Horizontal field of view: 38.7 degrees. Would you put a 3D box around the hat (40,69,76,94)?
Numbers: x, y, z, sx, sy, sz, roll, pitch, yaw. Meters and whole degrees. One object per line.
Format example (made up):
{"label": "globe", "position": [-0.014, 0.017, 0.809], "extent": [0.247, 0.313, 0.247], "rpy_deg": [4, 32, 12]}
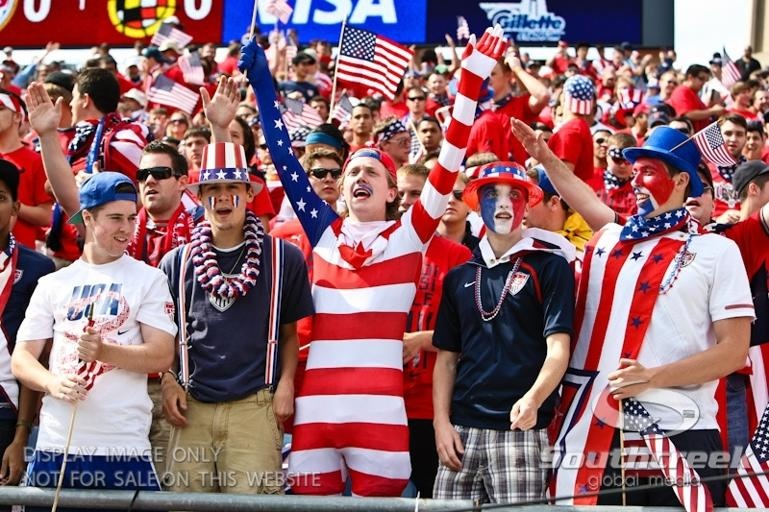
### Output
{"label": "hat", "position": [-3.440, -1.864, 11.582], "extent": [0.264, 0.255, 0.339], "rpy_deg": [4, 21, 2]}

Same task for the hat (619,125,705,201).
{"label": "hat", "position": [2.243, -0.874, 8.720], "extent": [0.506, 0.239, 0.454], "rpy_deg": [24, 12, 38]}

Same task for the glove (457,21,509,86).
{"label": "glove", "position": [0.828, -1.628, 8.963], "extent": [0.283, 0.492, 0.117], "rpy_deg": [27, -4, 14]}

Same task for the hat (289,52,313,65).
{"label": "hat", "position": [-1.392, -3.289, 18.278], "extent": [0.540, 0.238, 0.741], "rpy_deg": [1, 9, 3]}

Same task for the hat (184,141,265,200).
{"label": "hat", "position": [-1.341, -0.748, 9.127], "extent": [0.608, 0.341, 0.614], "rpy_deg": [-5, -4, 23]}

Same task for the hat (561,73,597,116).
{"label": "hat", "position": [2.296, -1.871, 12.810], "extent": [0.361, 0.468, 0.406], "rpy_deg": [-6, -12, 1]}

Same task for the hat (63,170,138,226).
{"label": "hat", "position": [-2.234, -0.476, 8.665], "extent": [0.486, 0.285, 0.314], "rpy_deg": [-2, 5, 14]}
